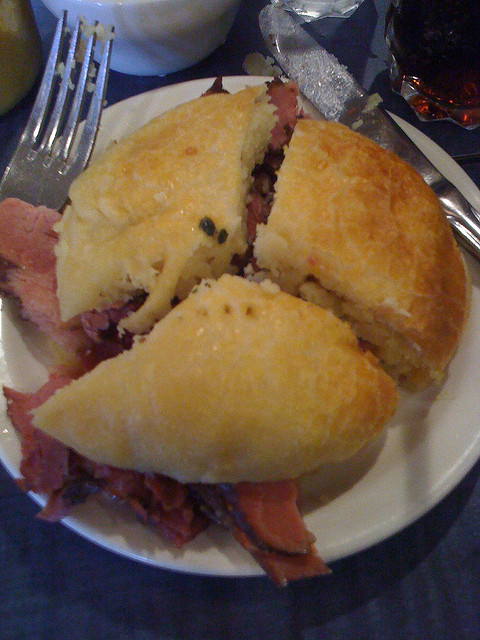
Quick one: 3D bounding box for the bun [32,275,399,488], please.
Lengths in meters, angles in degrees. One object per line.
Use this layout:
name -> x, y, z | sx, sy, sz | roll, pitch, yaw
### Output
bun -> -0.022, 0.121, 0.995 | 0.438, 0.202, 0.293 | -32, 69, -17

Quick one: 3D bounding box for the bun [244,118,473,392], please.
bun -> 0.190, -0.076, 1.082 | 0.400, 0.202, 0.369 | 15, 70, -25
